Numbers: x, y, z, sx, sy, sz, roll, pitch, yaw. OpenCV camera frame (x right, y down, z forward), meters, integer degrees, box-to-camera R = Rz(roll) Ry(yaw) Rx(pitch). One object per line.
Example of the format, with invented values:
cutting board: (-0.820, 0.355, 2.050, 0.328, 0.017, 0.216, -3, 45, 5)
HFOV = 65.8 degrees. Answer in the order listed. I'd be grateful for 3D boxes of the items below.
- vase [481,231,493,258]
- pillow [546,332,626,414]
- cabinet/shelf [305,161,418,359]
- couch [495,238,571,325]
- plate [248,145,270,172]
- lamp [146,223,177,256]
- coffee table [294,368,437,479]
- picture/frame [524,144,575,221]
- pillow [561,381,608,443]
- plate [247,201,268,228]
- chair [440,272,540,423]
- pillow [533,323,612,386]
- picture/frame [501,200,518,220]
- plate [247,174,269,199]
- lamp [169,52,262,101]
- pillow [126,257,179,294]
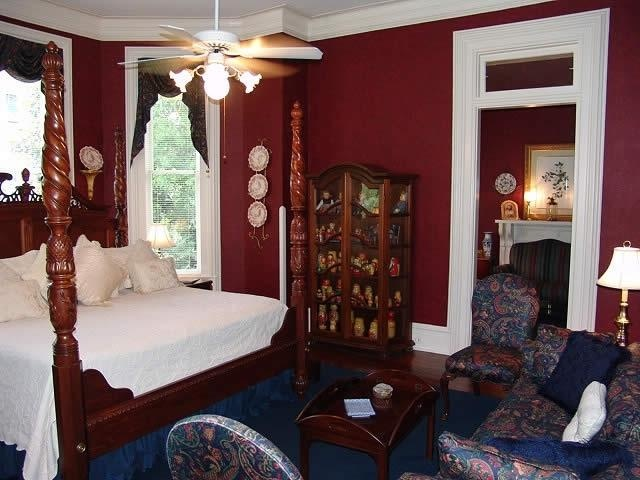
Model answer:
vase: (3.012, 0.092, 8.881, 0.179, 0.449, 0.308, 4, 8, 19)
pillow: (1.724, 0.862, 3.277, 0.136, 0.460, 0.472, 33, -3, -7)
cabinet/shelf: (0.474, 0.202, 5.839, 1.324, 2.169, 0.543, 3, 8, 12)
couch: (3.306, 0.632, 7.281, 1.215, 1.250, 0.710, 5, 8, 30)
plate: (-0.770, -1.050, 6.336, 0.294, 0.313, 0.071, 14, 10, 35)
lamp: (-1.951, 0.055, 6.050, 0.273, 0.453, 0.279, -9, 32, -36)
coffee table: (0.281, 1.192, 3.373, 0.633, 0.516, 0.892, 2, 6, 29)
picture/frame: (3.923, -0.995, 8.495, 0.779, 1.281, 0.159, 5, 8, 23)
pillow: (1.451, 0.944, 2.697, 0.102, 0.309, 0.299, 14, 2, 11)
plate: (-0.805, -0.343, 6.370, 0.270, 0.312, 0.059, 4, 3, 31)
chair: (1.486, 0.948, 4.313, 0.683, 1.233, 0.786, 2, 1, 34)
pillow: (1.812, 0.870, 3.846, 0.421, 0.452, 0.192, 5, -1, 42)
picture/frame: (3.374, -0.534, 8.759, 0.327, 0.463, 0.072, -1, -3, 28)
plate: (-0.793, -0.692, 6.342, 0.272, 0.304, 0.069, 4, 4, 33)
lamp: (-0.739, -1.212, 3.667, 0.610, 0.353, 0.670, -6, 4, -12)
pillow: (-1.717, 0.351, 5.166, 0.312, 0.284, 0.734, 18, 7, 15)
